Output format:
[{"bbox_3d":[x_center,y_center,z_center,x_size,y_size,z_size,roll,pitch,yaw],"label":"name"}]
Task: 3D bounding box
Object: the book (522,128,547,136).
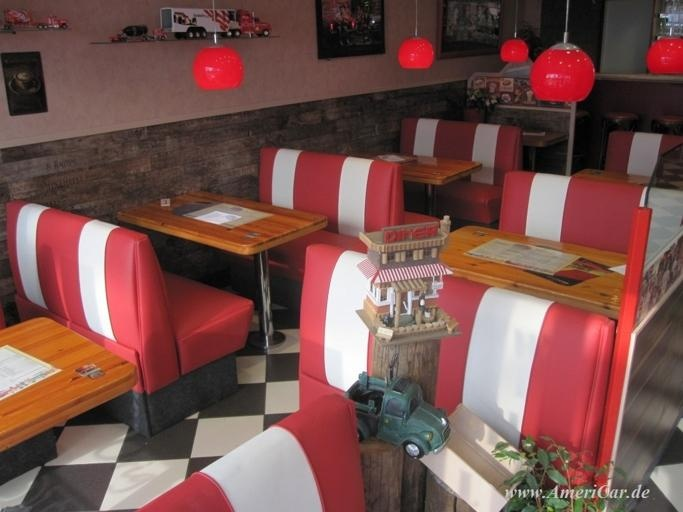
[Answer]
[{"bbox_3d":[2.293,-1.472,5.880,0.207,0.043,0.194,14,23,38],"label":"book"}]
